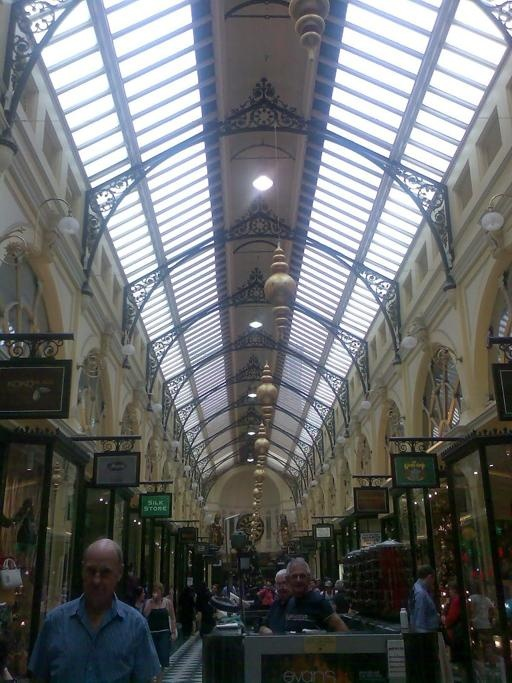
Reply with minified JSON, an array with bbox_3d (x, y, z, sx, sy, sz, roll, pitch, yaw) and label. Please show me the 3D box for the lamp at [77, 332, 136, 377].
[{"bbox_3d":[-4.099,0.433,14.067,0.587,0.981,2.048,-1,8,18],"label":"lamp"}]
